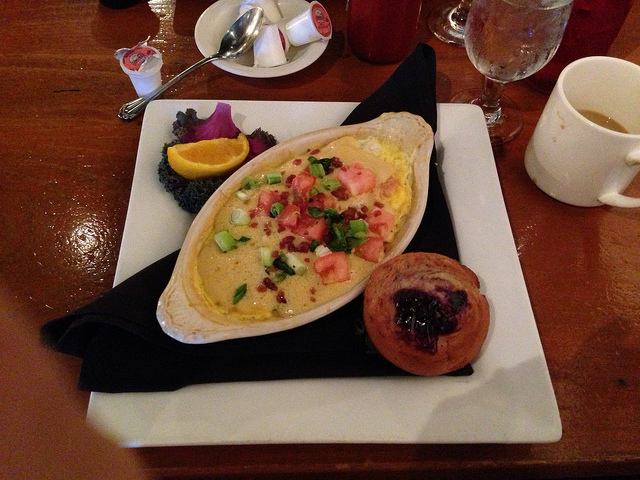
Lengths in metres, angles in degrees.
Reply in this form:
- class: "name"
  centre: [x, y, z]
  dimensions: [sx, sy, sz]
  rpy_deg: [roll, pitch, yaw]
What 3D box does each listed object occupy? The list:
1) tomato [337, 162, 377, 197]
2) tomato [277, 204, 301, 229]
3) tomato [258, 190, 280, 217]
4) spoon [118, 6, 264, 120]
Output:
- class: "tomato"
  centre: [0.160, -0.269, 2.245]
  dimensions: [0.147, 0.049, 0.138]
  rpy_deg: [-38, 81, -14]
- class: "tomato"
  centre: [-0.127, -0.101, 2.171]
  dimensions: [0.085, 0.061, 0.093]
  rpy_deg: [4, 60, 26]
- class: "tomato"
  centre: [-0.218, -0.150, 2.193]
  dimensions: [0.100, 0.033, 0.108]
  rpy_deg: [2, 91, -4]
- class: "spoon"
  centre: [-0.663, -0.910, 2.717]
  dimensions: [0.895, 0.149, 0.191]
  rpy_deg: [-42, 67, -7]
